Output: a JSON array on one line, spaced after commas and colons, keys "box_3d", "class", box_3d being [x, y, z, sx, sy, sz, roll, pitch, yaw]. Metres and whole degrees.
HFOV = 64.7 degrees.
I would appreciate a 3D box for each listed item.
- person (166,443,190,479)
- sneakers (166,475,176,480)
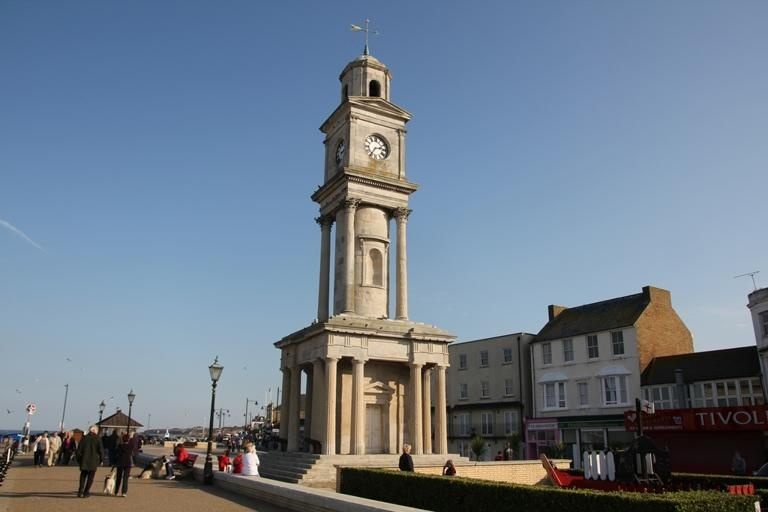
[{"box_3d": [-11.100, 11.067, 32.801, 1.153, 1.720, 0.905, 1, -3, -7], "class": "person"}, {"box_3d": [-11.133, 11.661, 31.968, 0.512, 0.197, 0.178, 5, -14, -8], "class": "sneakers"}]
